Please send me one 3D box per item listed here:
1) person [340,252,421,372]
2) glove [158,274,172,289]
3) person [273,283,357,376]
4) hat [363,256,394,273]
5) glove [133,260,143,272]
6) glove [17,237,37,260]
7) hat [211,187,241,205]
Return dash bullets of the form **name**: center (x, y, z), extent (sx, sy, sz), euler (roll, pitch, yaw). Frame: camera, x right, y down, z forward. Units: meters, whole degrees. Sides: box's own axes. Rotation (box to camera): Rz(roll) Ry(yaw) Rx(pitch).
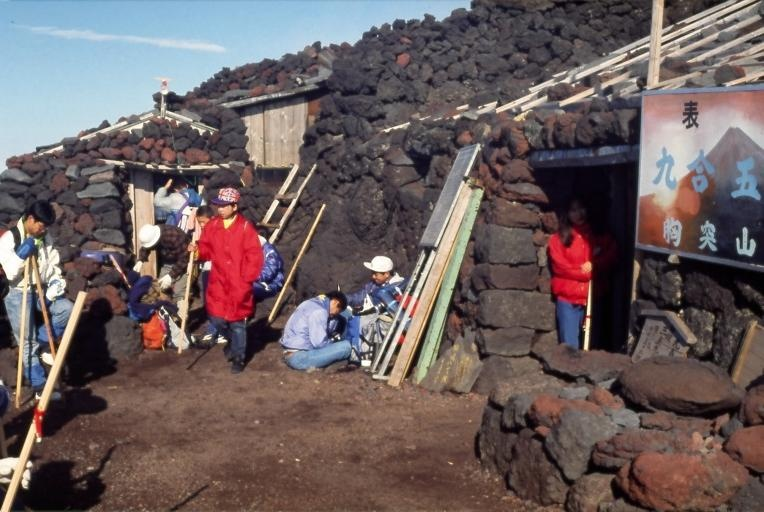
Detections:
- **person**: center (0.020, 0.850, 10.295), extent (0.838, 1.534, 0.743), euler (21, -34, 9)
- **glove**: center (-3.434, 0.412, 11.207), extent (0.042, 0.246, 0.064), euler (26, 5, 10)
- **person**: center (-0.891, 0.924, 10.171), extent (1.074, 1.286, 1.002), euler (-2, 26, -23)
- **hat**: center (-0.050, 0.159, 10.710), extent (0.356, 0.152, 0.265), euler (4, 16, 2)
- **glove**: center (-4.005, 0.171, 11.621), extent (0.138, 0.182, 0.073), euler (16, -15, 5)
- **glove**: center (-4.245, -0.090, 8.426), extent (0.149, 0.216, 0.131), euler (37, -27, -14)
- **hat**: center (-2.144, -0.813, 9.715), extent (0.312, 0.251, 0.568), euler (-2, 6, -9)
